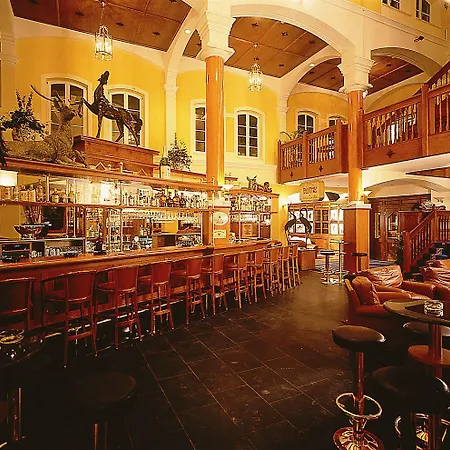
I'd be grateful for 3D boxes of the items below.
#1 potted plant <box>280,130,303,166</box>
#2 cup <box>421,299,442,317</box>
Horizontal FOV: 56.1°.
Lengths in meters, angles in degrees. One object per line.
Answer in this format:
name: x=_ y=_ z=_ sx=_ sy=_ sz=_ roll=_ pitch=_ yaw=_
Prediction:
potted plant: x=2.047 y=-2.381 z=13.913 sx=0.760 sy=1.069 sz=0.700 roll=-10 pitch=6 yaw=-38
cup: x=2.163 y=0.850 z=4.390 sx=0.188 sy=0.116 sz=0.175 roll=3 pitch=-10 yaw=1
